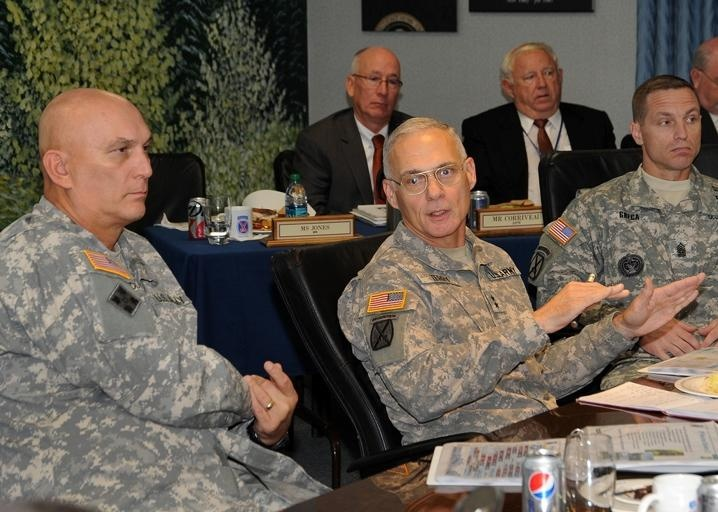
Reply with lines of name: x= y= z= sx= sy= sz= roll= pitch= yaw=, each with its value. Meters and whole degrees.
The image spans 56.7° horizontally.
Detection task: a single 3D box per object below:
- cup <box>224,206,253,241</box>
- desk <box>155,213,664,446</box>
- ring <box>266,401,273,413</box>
cup: x=-0.603 y=-0.172 z=3.515 sx=0.189 sy=0.163 sz=0.119 roll=-3 pitch=6 yaw=-5
desk: x=-0.178 y=0.366 z=2.946 sx=1.365 sy=0.922 sz=0.817 roll=-4 pitch=0 yaw=-28
ring: x=-0.259 y=0.442 z=1.933 sx=0.007 sy=0.022 sz=0.024 roll=24 pitch=30 yaw=-3
